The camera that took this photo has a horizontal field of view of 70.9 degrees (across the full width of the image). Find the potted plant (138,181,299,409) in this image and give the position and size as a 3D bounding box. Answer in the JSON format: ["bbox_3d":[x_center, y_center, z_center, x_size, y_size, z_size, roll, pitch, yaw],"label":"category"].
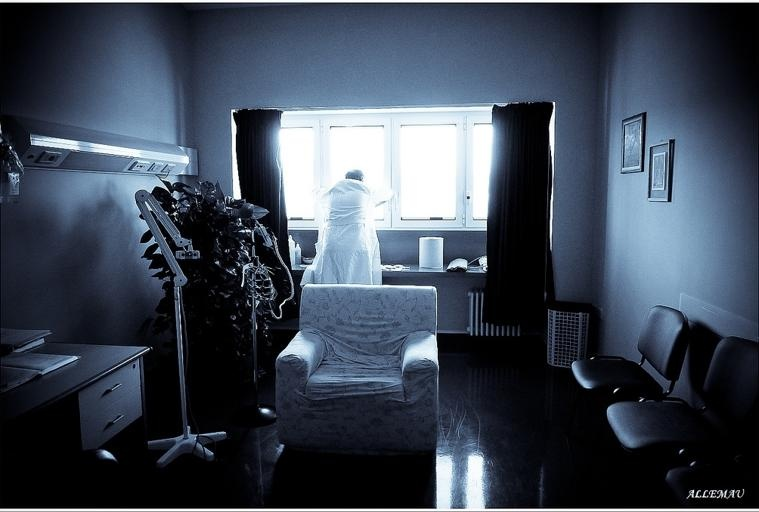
[{"bbox_3d":[-1.330,0.311,4.566,1.104,1.854,1.898,-1,9,-11],"label":"potted plant"}]

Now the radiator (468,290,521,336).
[{"bbox_3d":[1.195,0.708,5.616,0.469,0.525,0.125,1,11,15],"label":"radiator"}]

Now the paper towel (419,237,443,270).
[{"bbox_3d":[0.535,-0.022,5.582,0.252,0.328,0.262,2,9,9],"label":"paper towel"}]

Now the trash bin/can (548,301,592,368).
[{"bbox_3d":[1.892,0.862,5.325,0.414,0.580,0.411,2,1,-16],"label":"trash bin/can"}]

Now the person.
[{"bbox_3d":[-0.331,-0.046,5.473,0.791,1.758,0.578,-4,-17,8],"label":"person"}]

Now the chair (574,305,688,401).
[{"bbox_3d":[1.843,0.829,3.984,0.711,0.880,0.649,-2,8,4],"label":"chair"}]

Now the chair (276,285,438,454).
[{"bbox_3d":[-0.112,0.821,4.368,1.213,1.125,1.169,0,0,4],"label":"chair"}]
